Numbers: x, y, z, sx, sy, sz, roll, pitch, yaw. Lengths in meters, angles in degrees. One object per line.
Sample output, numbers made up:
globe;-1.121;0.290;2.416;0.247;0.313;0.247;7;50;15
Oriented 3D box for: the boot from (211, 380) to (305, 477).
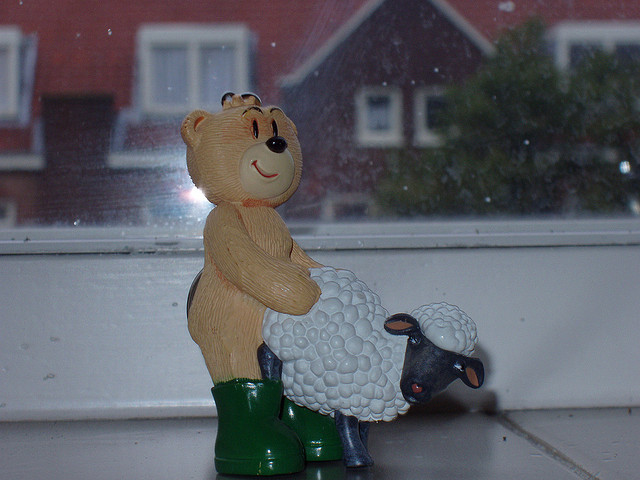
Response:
boot;-0.150;0.480;3.693;0.240;0.254;0.169;-1;-5;1
